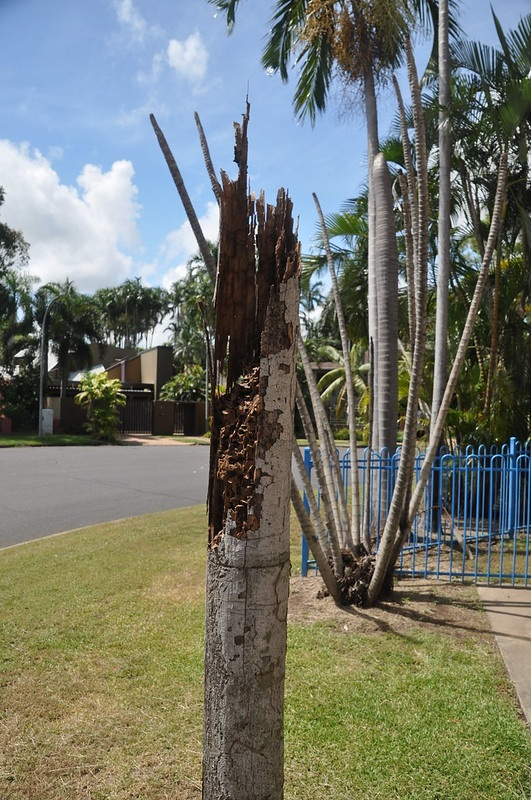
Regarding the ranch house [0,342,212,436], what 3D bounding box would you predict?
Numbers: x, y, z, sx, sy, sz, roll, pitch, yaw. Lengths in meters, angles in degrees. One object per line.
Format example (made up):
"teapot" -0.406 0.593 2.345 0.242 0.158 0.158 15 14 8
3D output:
"ranch house" -6.780 -0.060 35.559 7.846 3.699 6.276 -2 2 -22
